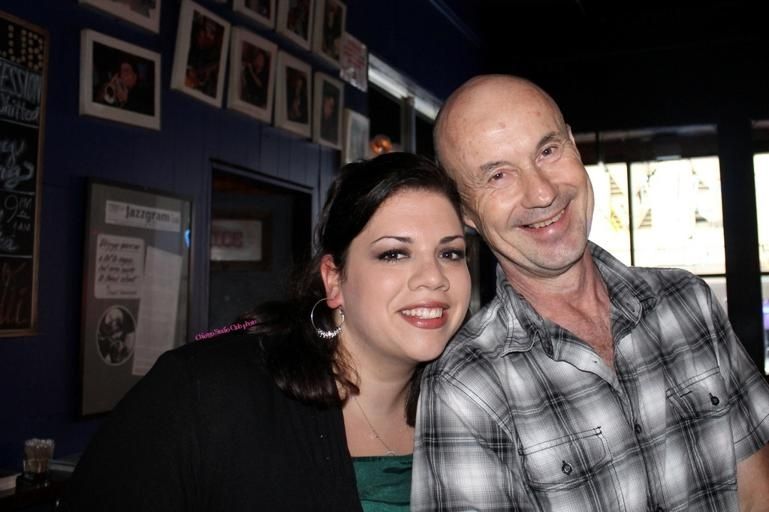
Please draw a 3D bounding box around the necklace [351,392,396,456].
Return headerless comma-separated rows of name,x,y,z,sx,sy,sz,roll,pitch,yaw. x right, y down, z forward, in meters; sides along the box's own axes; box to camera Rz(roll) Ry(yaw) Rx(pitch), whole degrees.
necklace,-0.052,0.796,2.766,0.119,0.360,0.052,-34,-9,-17
